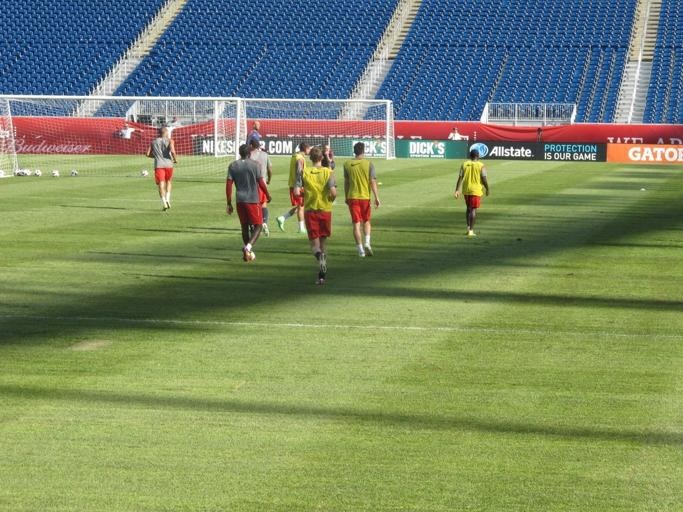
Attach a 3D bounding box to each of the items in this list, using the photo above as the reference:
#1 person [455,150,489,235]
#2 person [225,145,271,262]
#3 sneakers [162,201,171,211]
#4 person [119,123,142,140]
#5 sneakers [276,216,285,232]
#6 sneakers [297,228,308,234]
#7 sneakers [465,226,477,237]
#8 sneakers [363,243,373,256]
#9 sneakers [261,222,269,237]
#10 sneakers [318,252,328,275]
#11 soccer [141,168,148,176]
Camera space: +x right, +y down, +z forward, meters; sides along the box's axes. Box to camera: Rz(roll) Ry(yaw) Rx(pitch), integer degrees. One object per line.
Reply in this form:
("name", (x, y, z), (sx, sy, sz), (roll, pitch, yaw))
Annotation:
("person", (2.339, -1.149, 19.675), (0.574, 1.562, 1.458), (3, 12, 7))
("person", (-1.393, -0.792, 16.452), (0.601, 1.726, 0.676), (0, 13, -5))
("sneakers", (-3.636, -1.014, 22.896), (0.078, 0.093, 0.224), (-24, -9, -8))
("person", (-8.384, -4.885, 43.763), (0.600, 0.713, 0.799), (3, -2, 4))
("sneakers", (-1.060, -0.568, 19.385), (0.162, 0.116, 0.354), (-12, -17, 6))
("sneakers", (-0.670, -0.426, 19.228), (0.128, 0.130, 0.326), (1, 1, -3))
("sneakers", (2.302, -0.417, 19.474), (0.107, 0.174, 0.275), (2, 17, 30))
("sneakers", (0.418, -0.089, 17.013), (0.086, 0.098, 0.215), (-11, -34, 12))
("sneakers", (-1.304, -0.438, 18.827), (0.121, 0.253, 0.088), (30, 44, 2))
("sneakers", (-0.231, 0.107, 14.927), (0.109, 0.293, 0.133), (-4, -2, 5))
("soccer", (-5.774, -2.423, 32.271), (0.265, 0.237, 0.316), (0, 6, -10))
